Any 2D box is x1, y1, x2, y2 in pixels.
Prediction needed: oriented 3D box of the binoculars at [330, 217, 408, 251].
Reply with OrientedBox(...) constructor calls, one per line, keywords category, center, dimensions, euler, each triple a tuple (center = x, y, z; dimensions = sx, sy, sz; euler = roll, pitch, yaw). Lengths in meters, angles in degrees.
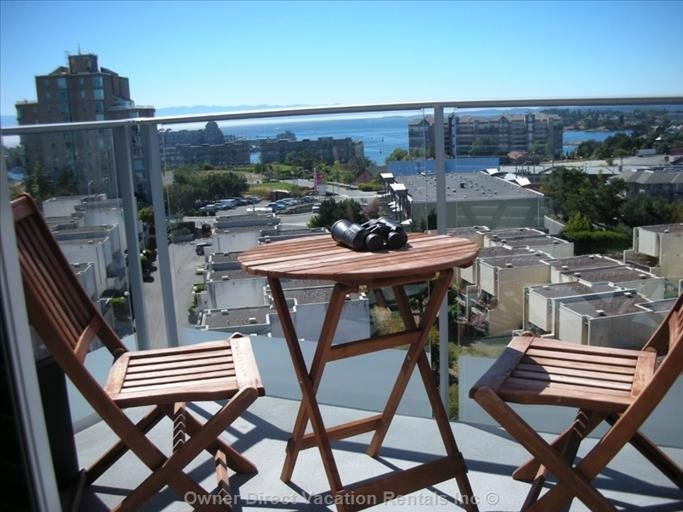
OrientedBox(category="binoculars", center=(0.118, -0.084, 2.048), dimensions=(0.276, 0.085, 0.271), euler=(7, 17, 35))
